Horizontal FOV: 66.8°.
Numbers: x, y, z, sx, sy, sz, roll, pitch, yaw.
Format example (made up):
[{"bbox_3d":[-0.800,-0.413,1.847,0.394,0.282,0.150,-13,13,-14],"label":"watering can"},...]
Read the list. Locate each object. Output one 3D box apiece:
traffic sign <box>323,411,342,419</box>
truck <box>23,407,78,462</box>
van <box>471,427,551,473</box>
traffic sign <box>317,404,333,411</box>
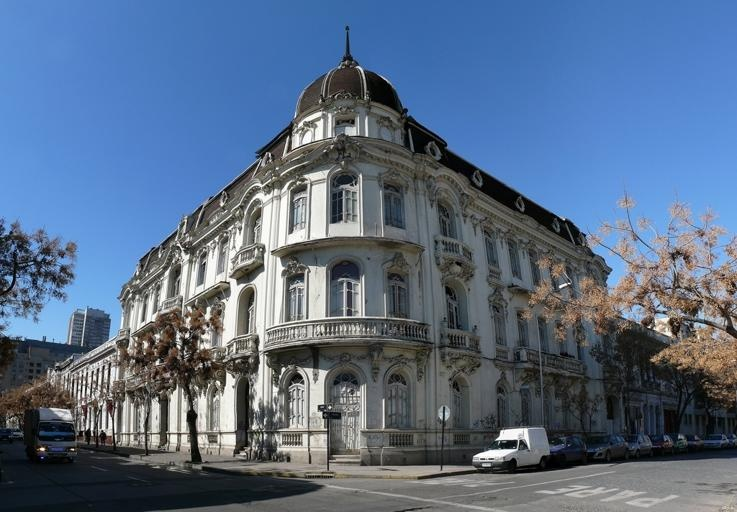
[{"bbox_3d":[-1.870,8.063,28.111,0.943,0.309,0.469,17,-27,-41],"label":"traffic sign"},{"bbox_3d":[-21.112,12.206,37.402,2.374,3.384,6.743,9,-28,-31],"label":"truck"},{"bbox_3d":[7.867,10.556,30.477,3.851,1.924,2.237,25,-35,-38],"label":"van"},{"bbox_3d":[-2.269,7.814,28.505,0.626,0.457,1.220,1,-20,-7],"label":"traffic sign"}]
